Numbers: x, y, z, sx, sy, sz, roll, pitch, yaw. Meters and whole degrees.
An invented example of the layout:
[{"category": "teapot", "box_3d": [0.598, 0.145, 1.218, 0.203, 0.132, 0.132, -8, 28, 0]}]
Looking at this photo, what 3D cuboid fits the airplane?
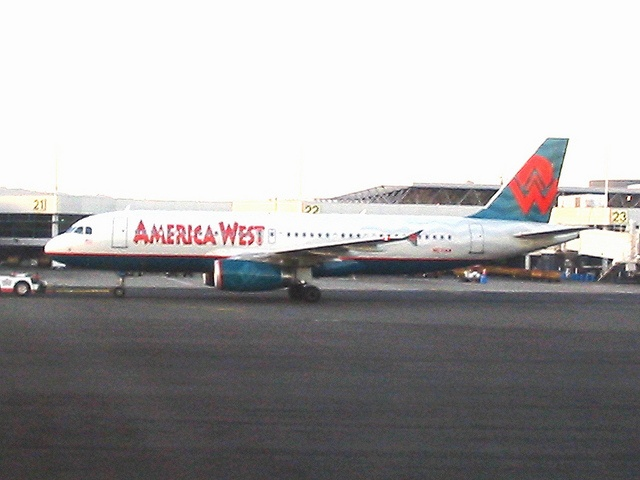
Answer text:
[{"category": "airplane", "box_3d": [-0.679, -1.330, 67.208, 24.691, 6.676, 15.148, 3, -1, -9]}]
